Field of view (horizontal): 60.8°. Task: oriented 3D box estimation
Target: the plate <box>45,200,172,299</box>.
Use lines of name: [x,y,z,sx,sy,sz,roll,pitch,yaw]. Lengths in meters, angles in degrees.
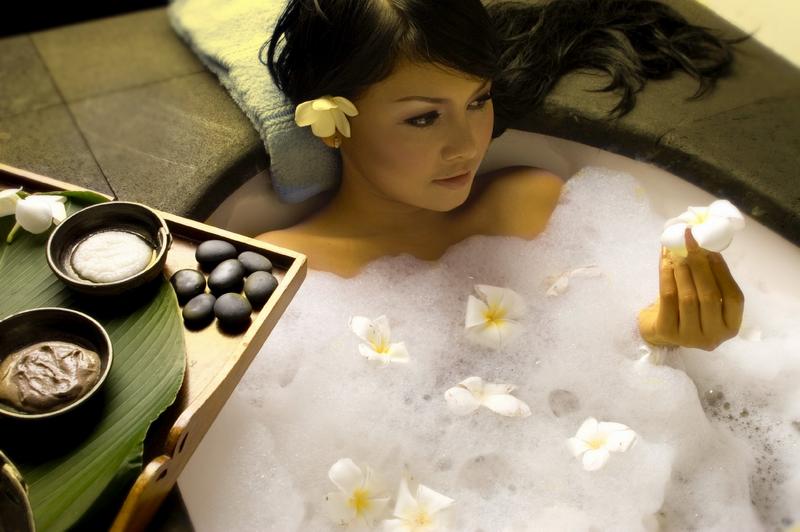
plate: [-0.650,-0.042,1.533,0.251,0.054,0.218,-34,77,-15]
